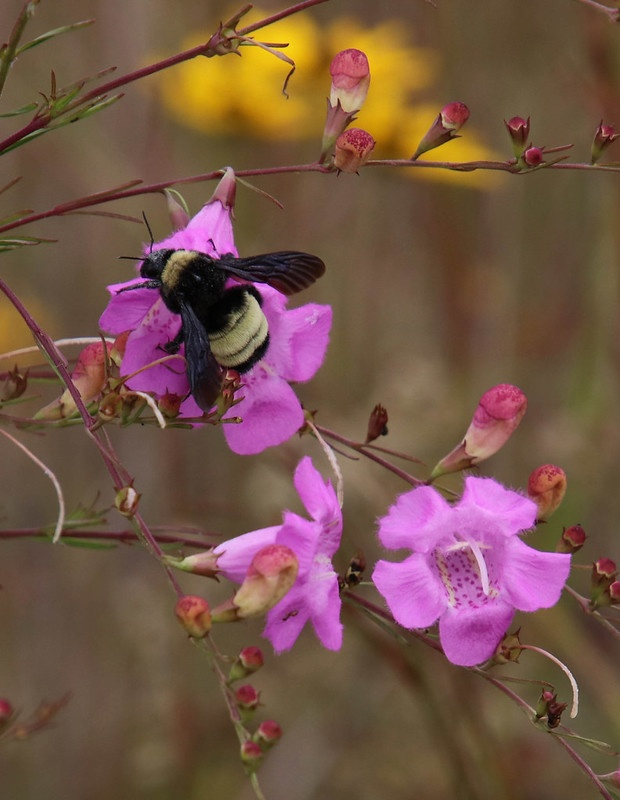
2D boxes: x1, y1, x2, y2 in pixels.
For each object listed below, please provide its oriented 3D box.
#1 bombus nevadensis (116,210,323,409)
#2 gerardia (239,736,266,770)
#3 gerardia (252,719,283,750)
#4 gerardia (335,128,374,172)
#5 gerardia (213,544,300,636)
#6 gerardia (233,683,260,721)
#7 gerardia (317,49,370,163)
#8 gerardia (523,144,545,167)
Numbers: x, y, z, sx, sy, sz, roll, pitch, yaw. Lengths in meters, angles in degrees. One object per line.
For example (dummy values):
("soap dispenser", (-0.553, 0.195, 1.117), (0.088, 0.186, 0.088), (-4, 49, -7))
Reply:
("bombus nevadensis", (-0.123, -0.101, 1.177), (0.189, 0.177, 0.245), (10, 21, 29))
("gerardia", (-0.066, 0.393, 1.072), (0.036, 0.036, 0.022), (-1, 5, -12))
("gerardia", (-0.048, 0.393, 1.110), (0.044, 0.029, 0.022), (-27, -23, 21))
("gerardia", (0.052, -0.311, 1.172), (0.048, 0.052, 0.059), (-1, 18, 1))
("gerardia", (-0.060, 0.195, 1.005), (0.097, 0.096, 0.062), (-2, 19, -2))
("gerardia", (-0.074, 0.344, 1.088), (0.041, 0.038, 0.021), (-3, -2, -13))
("gerardia", (0.049, -0.389, 1.253), (0.085, 0.141, 0.093), (-5, 18, -10))
("gerardia", (0.287, -0.323, 1.240), (0.027, 0.023, 0.031), (1, 1, -12))
